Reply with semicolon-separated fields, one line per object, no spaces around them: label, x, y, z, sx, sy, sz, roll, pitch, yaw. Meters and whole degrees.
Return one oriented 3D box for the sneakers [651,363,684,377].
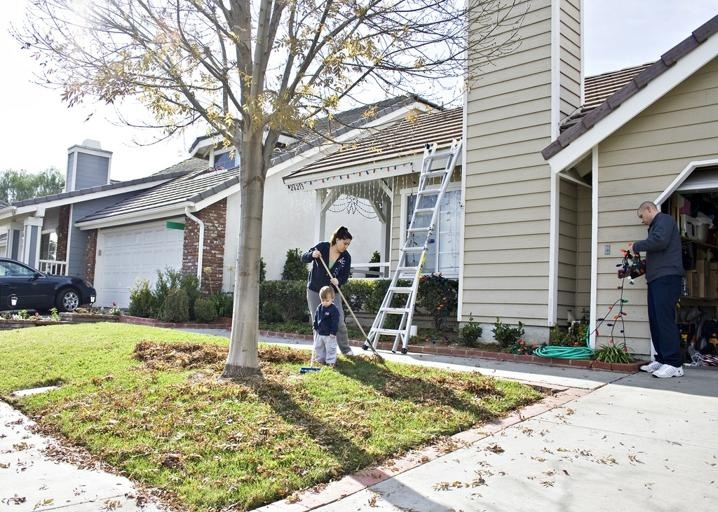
sneakers;4.606;1.702;8.163;0.505;0.234;0.186;3;-9;-20

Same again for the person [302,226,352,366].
person;-0.484;0.589;9.009;0.810;2.166;0.994;0;6;-3

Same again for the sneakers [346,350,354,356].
sneakers;-0.119;1.615;9.061;0.142;0.084;0.039;5;-7;-37

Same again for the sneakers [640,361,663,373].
sneakers;4.533;1.732;8.475;0.305;0.146;0.115;2;-3;-20
